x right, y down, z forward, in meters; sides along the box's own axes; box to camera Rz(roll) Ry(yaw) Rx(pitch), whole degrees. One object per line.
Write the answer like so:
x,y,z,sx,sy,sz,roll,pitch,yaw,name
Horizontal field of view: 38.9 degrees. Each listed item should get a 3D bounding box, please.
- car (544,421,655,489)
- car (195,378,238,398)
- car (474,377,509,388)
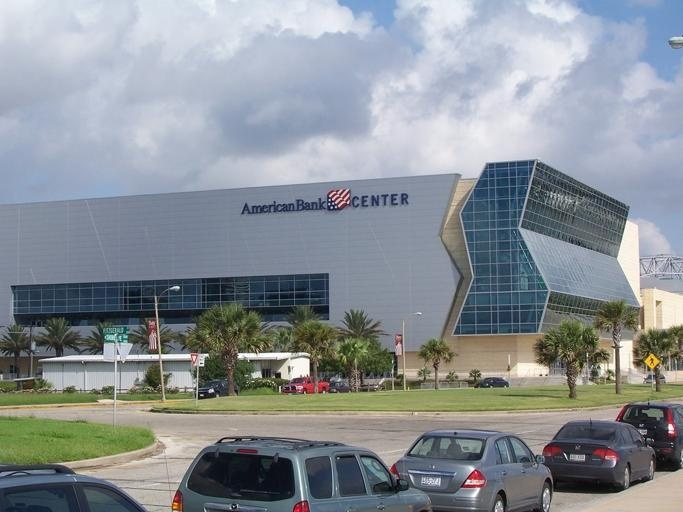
7.640,5.838,28.423,3.395,1.958,1.537,4,-9,-27,car
-10.301,10.566,76.929,2.024,1.525,5.024,0,-9,-2,car
14.767,12.293,93.889,3.221,1.089,1.435,9,-13,-37,car
